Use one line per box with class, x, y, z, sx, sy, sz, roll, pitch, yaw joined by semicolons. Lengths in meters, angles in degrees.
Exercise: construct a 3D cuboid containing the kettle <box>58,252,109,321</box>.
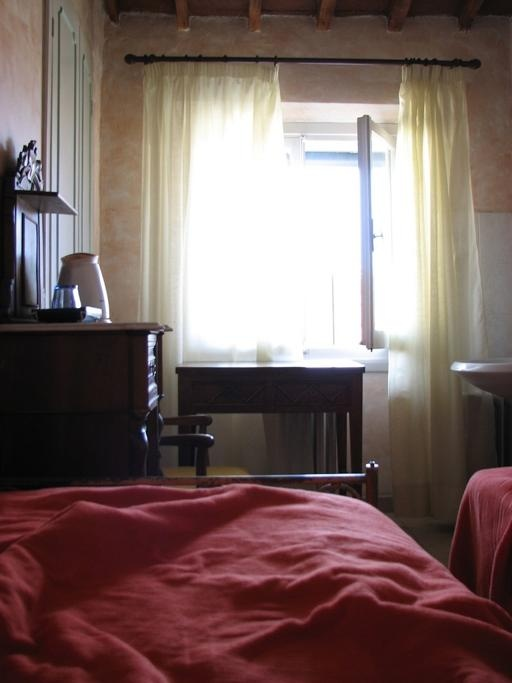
kettle;-0.533;-0.169;1.975;0.127;0.241;0.163;1;-7;-40
